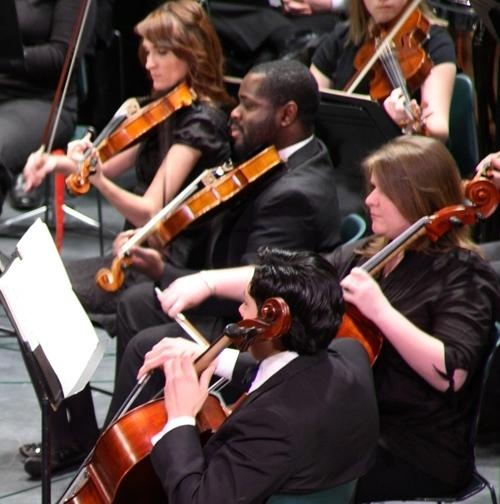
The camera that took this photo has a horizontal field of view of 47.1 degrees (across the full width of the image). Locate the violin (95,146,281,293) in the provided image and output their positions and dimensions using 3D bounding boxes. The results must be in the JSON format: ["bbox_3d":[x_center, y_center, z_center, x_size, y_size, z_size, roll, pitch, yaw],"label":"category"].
[{"bbox_3d":[-0.146,-0.112,1.497,0.599,0.091,0.231,-40,4,-32],"label":"violin"}]

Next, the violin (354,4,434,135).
[{"bbox_3d":[0.426,-0.547,1.662,0.150,0.073,0.414,-33,41,31],"label":"violin"}]

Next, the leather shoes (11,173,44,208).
[{"bbox_3d":[-0.793,-0.221,2.038,0.082,0.118,0.252,0,5,1],"label":"leather shoes"}]

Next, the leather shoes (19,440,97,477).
[{"bbox_3d":[-0.505,0.539,1.511,0.185,0.079,0.111,-2,24,-16],"label":"leather shoes"}]

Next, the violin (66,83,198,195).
[{"bbox_3d":[-0.266,-0.270,1.482,0.437,0.089,0.180,-46,14,6],"label":"violin"}]
